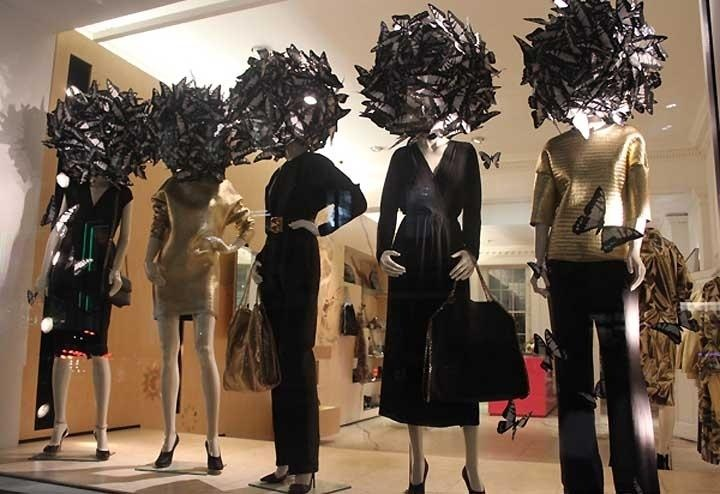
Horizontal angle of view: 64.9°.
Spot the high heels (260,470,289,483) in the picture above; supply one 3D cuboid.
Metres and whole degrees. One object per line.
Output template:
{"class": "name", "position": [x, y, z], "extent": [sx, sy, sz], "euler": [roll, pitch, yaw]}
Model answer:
{"class": "high heels", "position": [-0.478, 1.316, 3.241], "extent": [0.186, 0.070, 0.049], "euler": [-10, -46, 19]}

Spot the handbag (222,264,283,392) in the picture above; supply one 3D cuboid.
{"class": "handbag", "position": [-0.591, 0.436, 3.174], "extent": [0.341, 0.725, 0.149], "euler": [-2, -8, 24]}

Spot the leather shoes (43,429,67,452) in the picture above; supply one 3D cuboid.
{"class": "leather shoes", "position": [-2.006, 1.284, 3.766], "extent": [0.075, 0.091, 0.226], "euler": [6, 12, -2]}

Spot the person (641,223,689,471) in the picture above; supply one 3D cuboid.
{"class": "person", "position": [1.493, 0.488, 2.773], "extent": [0.245, 1.175, 0.103], "euler": [3, -7, -10]}
